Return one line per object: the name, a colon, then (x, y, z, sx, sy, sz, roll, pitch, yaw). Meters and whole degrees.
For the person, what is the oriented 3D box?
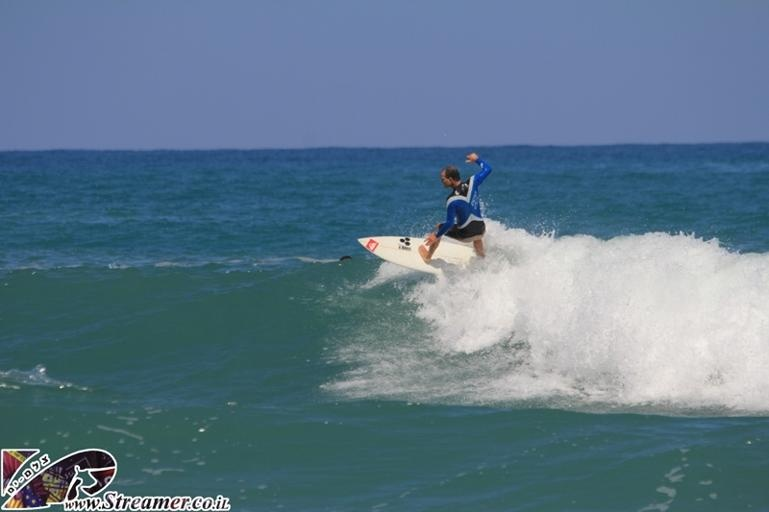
person: (1.617, -1.030, 22.758, 1.359, 2.502, 1.156, 3, 8, 3)
